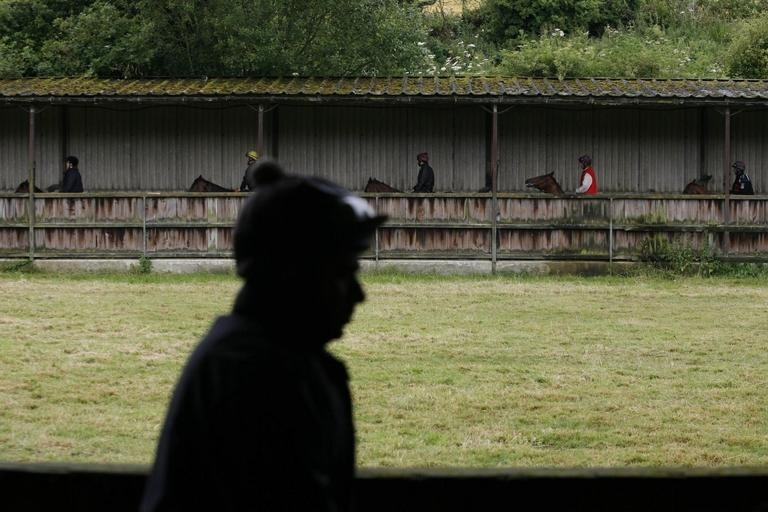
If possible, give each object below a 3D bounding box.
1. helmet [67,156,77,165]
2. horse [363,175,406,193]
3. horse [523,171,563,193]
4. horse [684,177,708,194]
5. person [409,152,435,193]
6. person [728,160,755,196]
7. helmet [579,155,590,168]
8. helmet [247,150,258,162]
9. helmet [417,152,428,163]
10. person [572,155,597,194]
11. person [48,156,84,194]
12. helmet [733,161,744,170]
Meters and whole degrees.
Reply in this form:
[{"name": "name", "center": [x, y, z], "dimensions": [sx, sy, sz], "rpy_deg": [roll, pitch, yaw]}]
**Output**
[{"name": "helmet", "center": [-9.797, -2.974, 60.523], "dimensions": [0.229, 0.242, 0.297], "rpy_deg": [12, 24, -23]}, {"name": "horse", "center": [-0.053, -2.228, 60.774], "dimensions": [1.453, 0.681, 0.469], "rpy_deg": [3, 4, -6]}, {"name": "horse", "center": [5.016, -2.291, 60.608], "dimensions": [1.197, 0.673, 1.707], "rpy_deg": [0, 3, 4]}, {"name": "horse", "center": [9.747, -2.161, 60.419], "dimensions": [0.719, 0.464, 1.461], "rpy_deg": [0, 3, 10]}, {"name": "person", "center": [1.023, -2.595, 60.326], "dimensions": [0.946, 1.720, 1.112], "rpy_deg": [1, 2, 8]}, {"name": "person", "center": [11.182, -2.415, 60.424], "dimensions": [0.672, 0.993, 1.065], "rpy_deg": [0, 3, 7]}, {"name": "helmet", "center": [6.255, -2.913, 60.309], "dimensions": [0.286, 0.381, 0.404], "rpy_deg": [0, 6, -7]}, {"name": "helmet", "center": [-4.153, -3.133, 60.747], "dimensions": [0.289, 0.212, 0.398], "rpy_deg": [10, 25, -48]}, {"name": "helmet", "center": [1.206, -3.040, 60.478], "dimensions": [0.225, 0.215, 0.324], "rpy_deg": [25, 1, 23]}, {"name": "person", "center": [6.319, -2.536, 60.410], "dimensions": [0.624, 1.212, 1.720], "rpy_deg": [0, 3, 7]}, {"name": "person", "center": [-10.061, -2.550, 60.917], "dimensions": [1.073, 1.521, 1.111], "rpy_deg": [2, 4, -8]}, {"name": "helmet", "center": [11.112, -2.804, 60.484], "dimensions": [0.303, 0.172, 0.248], "rpy_deg": [12, 8, 7]}]
